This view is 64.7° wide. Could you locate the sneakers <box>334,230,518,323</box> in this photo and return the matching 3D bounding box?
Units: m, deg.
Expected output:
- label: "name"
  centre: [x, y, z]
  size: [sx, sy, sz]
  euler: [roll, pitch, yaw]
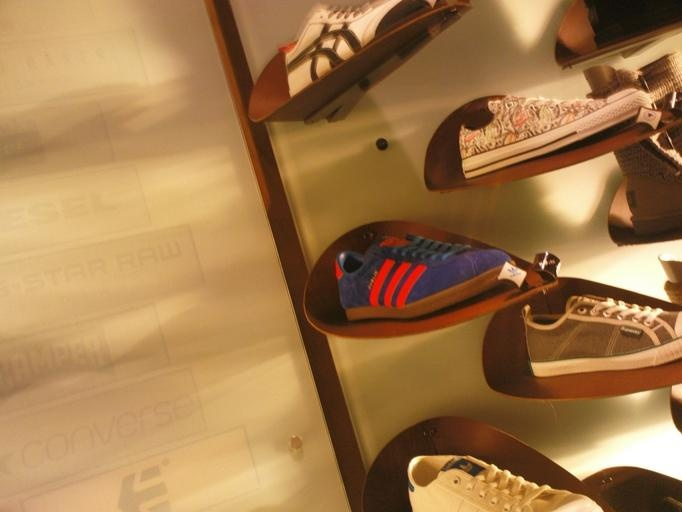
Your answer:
- label: "sneakers"
  centre: [0.208, 0.044, 1.336]
  size: [0.432, 0.181, 0.194]
  euler: [-15, -90, 25]
